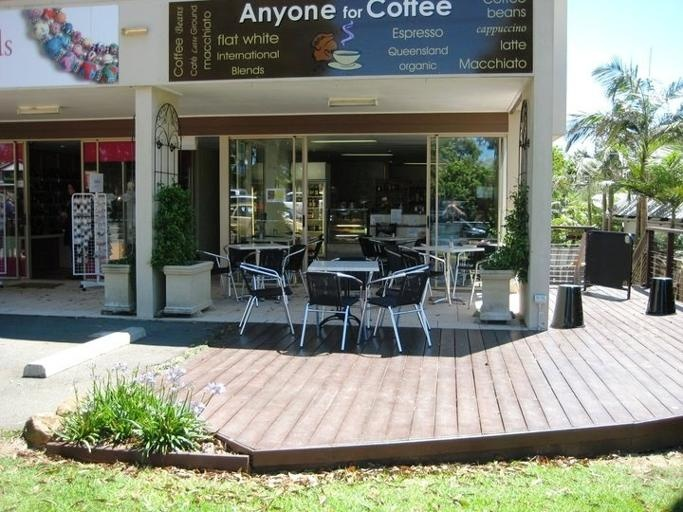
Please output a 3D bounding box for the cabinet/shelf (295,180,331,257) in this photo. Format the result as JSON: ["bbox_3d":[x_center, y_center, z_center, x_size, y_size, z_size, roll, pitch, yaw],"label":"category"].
[{"bbox_3d":[-0.706,-0.816,11.909,0.708,1.615,0.503,0,-1,-29],"label":"cabinet/shelf"}]
